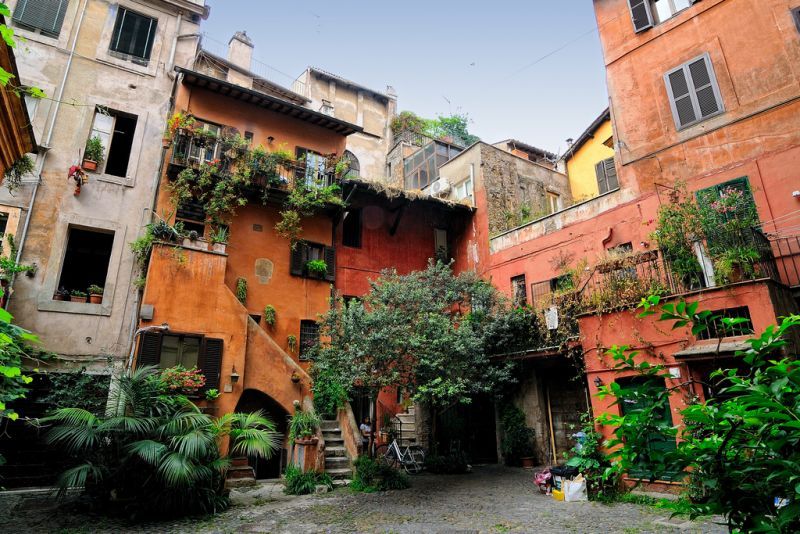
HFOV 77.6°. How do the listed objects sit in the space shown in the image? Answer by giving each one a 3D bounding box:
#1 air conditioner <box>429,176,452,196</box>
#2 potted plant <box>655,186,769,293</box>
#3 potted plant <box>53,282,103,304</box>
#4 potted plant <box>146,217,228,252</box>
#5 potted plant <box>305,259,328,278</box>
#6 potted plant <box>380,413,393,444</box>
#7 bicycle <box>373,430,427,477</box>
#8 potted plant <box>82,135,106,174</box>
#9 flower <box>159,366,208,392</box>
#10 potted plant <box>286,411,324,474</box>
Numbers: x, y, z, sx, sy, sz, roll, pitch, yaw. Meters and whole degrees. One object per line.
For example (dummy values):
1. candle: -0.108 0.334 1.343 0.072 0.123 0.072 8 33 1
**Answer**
1. air conditioner: 1.852 -3.805 23.399 0.504 1.047 1.137 9 -11 -41
2. potted plant: 8.496 -0.932 13.837 2.692 3.186 2.116 -2 -9 27
3. potted plant: -9.635 0.758 15.019 0.552 0.484 1.152 -14 -18 40
4. potted plant: -6.419 -0.867 15.669 1.276 0.831 1.803 6 -9 27
5. potted plant: -3.124 0.045 18.712 0.663 0.448 0.642 6 -13 -30
6. potted plant: -0.479 5.735 17.879 0.605 1.445 0.611 0 -13 -1
7. bicycle: 0.039 6.259 16.460 1.785 1.046 0.862 5 -21 -21
8. potted plant: -9.761 -3.628 15.937 0.514 1.231 0.558 4 -9 -15
9. flower: -6.066 3.135 13.985 0.966 0.555 0.939 8 -3 15
10. potted plant: -2.794 5.066 14.583 0.718 1.564 1.269 9 -11 -37
